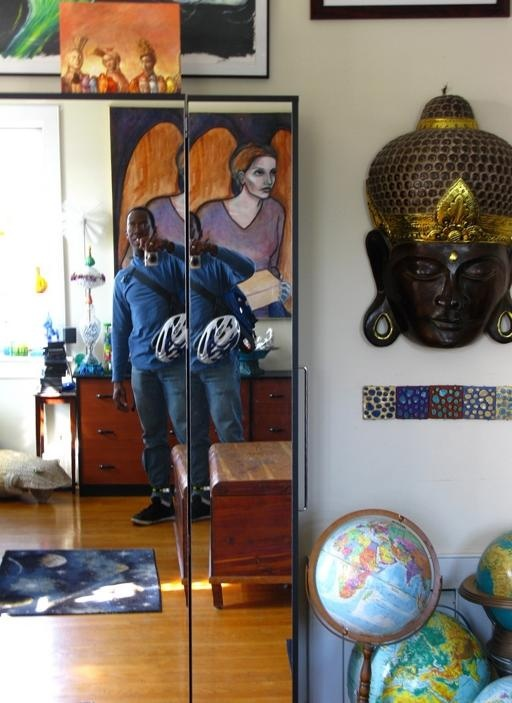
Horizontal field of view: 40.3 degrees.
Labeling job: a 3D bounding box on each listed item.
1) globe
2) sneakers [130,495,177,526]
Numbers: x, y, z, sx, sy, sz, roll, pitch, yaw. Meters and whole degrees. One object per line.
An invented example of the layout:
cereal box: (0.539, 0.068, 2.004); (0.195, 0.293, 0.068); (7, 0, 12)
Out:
globe: (0.299, 0.622, 1.739); (0.339, 0.389, 0.254); (-3, 9, -5)
sneakers: (-0.263, 0.423, 1.874); (0.155, 0.096, 0.052); (1, 0, -8)
